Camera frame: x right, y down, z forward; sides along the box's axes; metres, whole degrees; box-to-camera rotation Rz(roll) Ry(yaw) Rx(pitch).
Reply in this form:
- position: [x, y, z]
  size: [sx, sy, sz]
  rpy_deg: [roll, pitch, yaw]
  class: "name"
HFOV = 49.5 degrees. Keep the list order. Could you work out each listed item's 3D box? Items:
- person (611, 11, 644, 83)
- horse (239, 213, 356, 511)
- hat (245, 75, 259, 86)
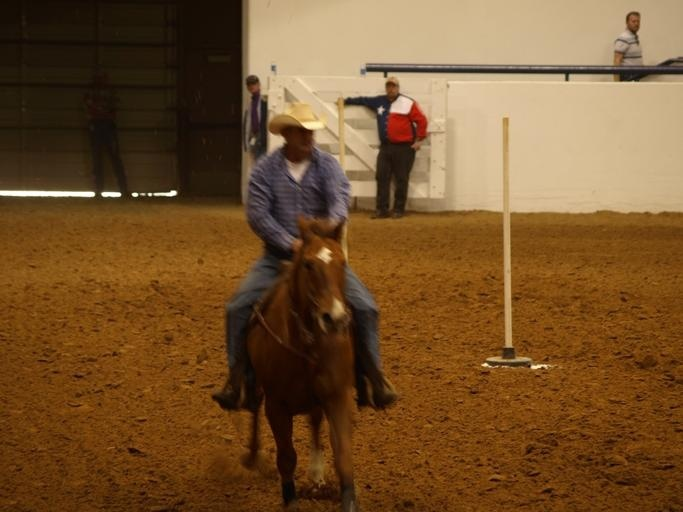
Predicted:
- position: [6.764, -4.946, 17.332]
  size: [0.886, 1.614, 0.628]
  rpy_deg: [-7, 10, -31]
  class: "person"
- position: [-0.257, 0.824, 5.334]
  size: [0.674, 2.239, 1.384]
  rpy_deg: [-5, 10, -23]
  class: "horse"
- position: [-1.940, -3.860, 16.158]
  size: [0.205, 0.267, 0.297]
  rpy_deg: [4, 16, 19]
  class: "hat"
